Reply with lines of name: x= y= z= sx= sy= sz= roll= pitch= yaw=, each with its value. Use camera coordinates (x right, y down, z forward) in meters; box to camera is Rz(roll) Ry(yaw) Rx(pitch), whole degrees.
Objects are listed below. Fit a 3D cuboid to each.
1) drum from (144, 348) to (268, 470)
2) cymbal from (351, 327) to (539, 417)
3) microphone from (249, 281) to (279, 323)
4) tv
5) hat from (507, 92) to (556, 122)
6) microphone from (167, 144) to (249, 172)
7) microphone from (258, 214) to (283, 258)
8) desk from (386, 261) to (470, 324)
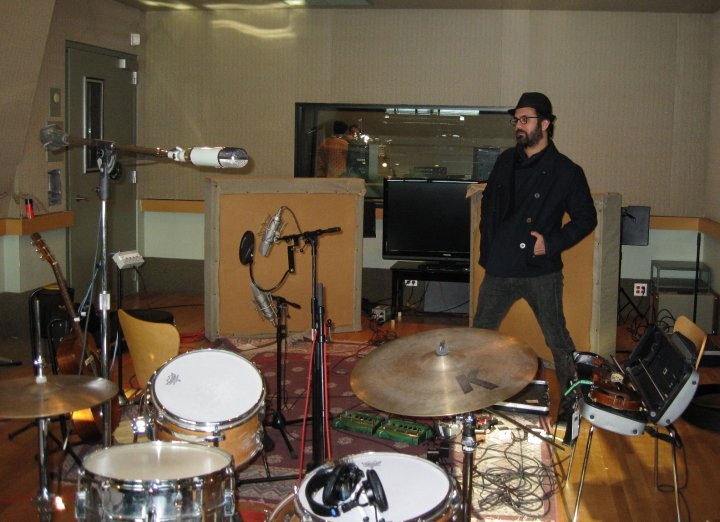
drum: x=-0.793 y=0.763 z=3.488 sx=0.519 sy=0.363 sz=0.533 roll=6 pitch=43 yaw=-6
cymbal: x=0.377 y=0.521 z=3.125 sx=0.843 sy=0.333 sz=0.538 roll=1 pitch=8 yaw=-2
microphone: x=-0.605 y=0.263 z=4.223 sx=0.152 sy=0.282 sz=0.302 roll=0 pitch=8 yaw=-8
tv: x=0.722 y=-0.404 z=6.746 sx=0.865 sy=0.759 sz=0.091 roll=1 pitch=10 yaw=7
hat: x=1.111 y=-0.966 z=4.364 sx=0.253 sy=0.109 sz=0.189 roll=17 pitch=0 yaw=-11
microphone: x=-0.857 y=-0.586 z=3.778 sx=0.469 sy=0.111 sz=0.229 roll=1 pitch=8 yaw=0
microphone: x=-0.592 y=-0.182 z=4.431 sx=0.138 sy=0.322 sz=0.374 roll=-1 pitch=8 yaw=-9
desk: x=0.674 y=0.409 z=7.010 sx=0.954 sy=0.672 sz=0.525 roll=0 pitch=-2 yaw=4
